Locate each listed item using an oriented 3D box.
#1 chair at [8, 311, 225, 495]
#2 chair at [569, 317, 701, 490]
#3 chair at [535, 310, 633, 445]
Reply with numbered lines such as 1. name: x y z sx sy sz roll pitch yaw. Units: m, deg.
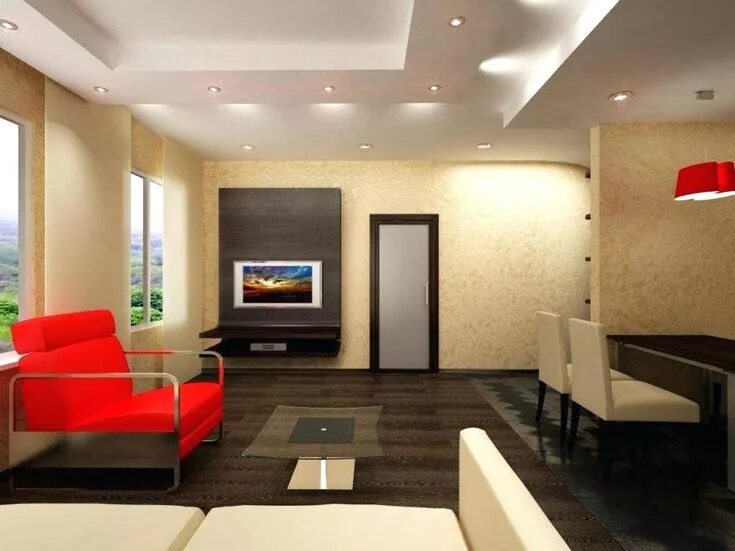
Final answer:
1. chair: -1.802 0.789 4.140 1.379 1.035 1.690 0 0 -4
2. chair: 2.049 0.975 4.199 0.931 0.987 0.863 3 -9 2
3. chair: 2.052 0.902 4.626 0.888 1.093 0.804 1 -5 -1
